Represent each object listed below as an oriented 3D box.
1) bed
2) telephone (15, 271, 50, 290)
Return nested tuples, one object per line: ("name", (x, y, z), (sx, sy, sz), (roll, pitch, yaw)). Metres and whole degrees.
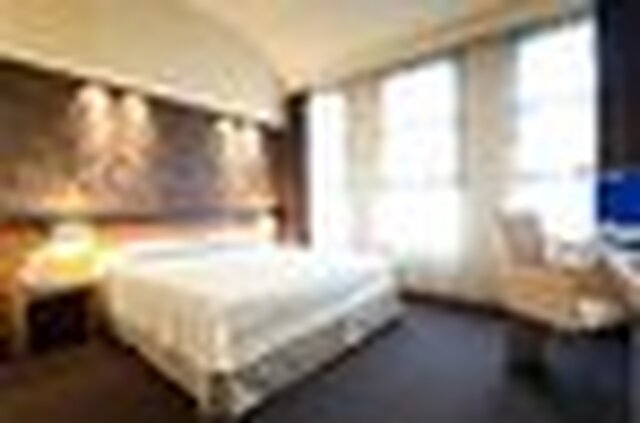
("bed", (-1.137, 1.120, 4.526), (2.182, 0.780, 2.216), (-2, -3, 42))
("telephone", (-3.335, 0.791, 4.650), (0.246, 0.087, 0.207), (5, 3, 41))
